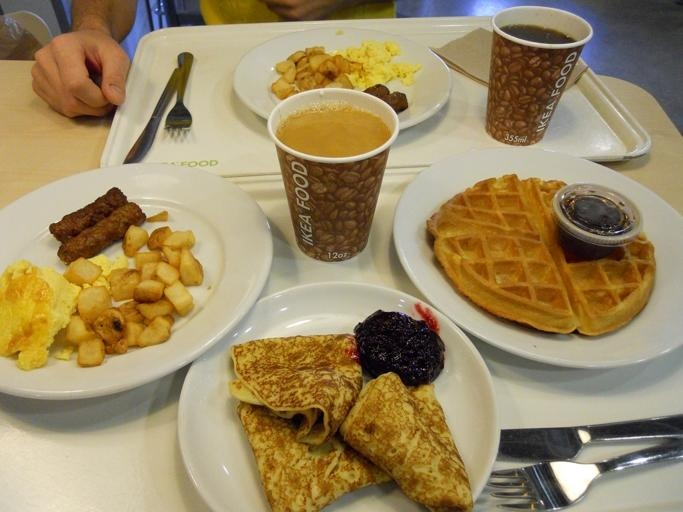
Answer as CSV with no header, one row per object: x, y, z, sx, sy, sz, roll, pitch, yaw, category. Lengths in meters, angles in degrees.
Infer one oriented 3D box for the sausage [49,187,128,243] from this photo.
-0.916,-0.147,2.028,0.281,0.078,0.129,-35,86,-15,sausage
